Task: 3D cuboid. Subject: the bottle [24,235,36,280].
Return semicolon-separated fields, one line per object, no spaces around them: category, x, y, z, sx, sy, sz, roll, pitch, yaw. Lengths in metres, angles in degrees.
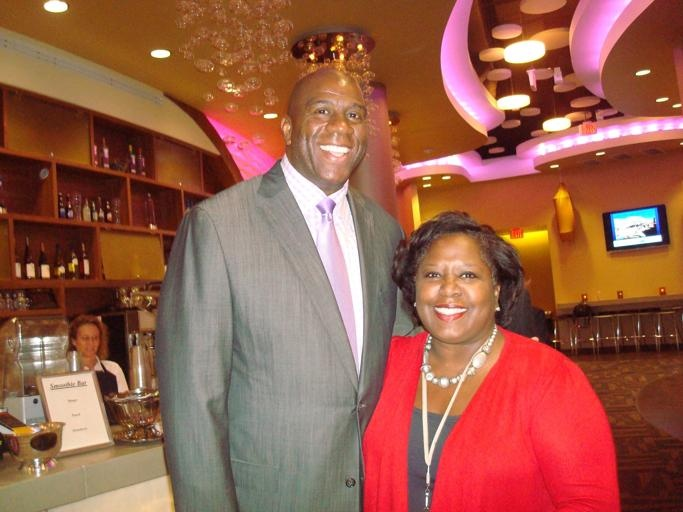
bottle;-2.783;0.008;4.782;0.106;0.409;0.324;1;-9;-32

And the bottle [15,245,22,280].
bottle;-2.799;0.075;4.636;0.061;0.256;0.399;0;-9;-30

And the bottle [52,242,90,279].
bottle;-2.574;0.032;5.123;0.314;0.363;0.187;2;-9;-40

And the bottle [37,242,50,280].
bottle;-2.732;0.044;4.893;0.099;0.388;0.101;-14;-36;-10
